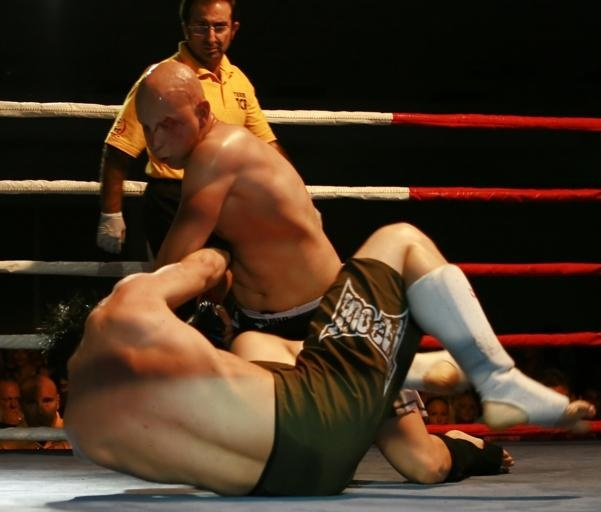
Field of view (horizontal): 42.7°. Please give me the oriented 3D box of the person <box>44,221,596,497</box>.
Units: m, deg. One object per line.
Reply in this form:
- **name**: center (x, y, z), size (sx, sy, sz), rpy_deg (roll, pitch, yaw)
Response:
- **person**: center (0.155, 0.300, 2.082), size (1.321, 0.755, 0.426), rpy_deg (1, 70, -31)
